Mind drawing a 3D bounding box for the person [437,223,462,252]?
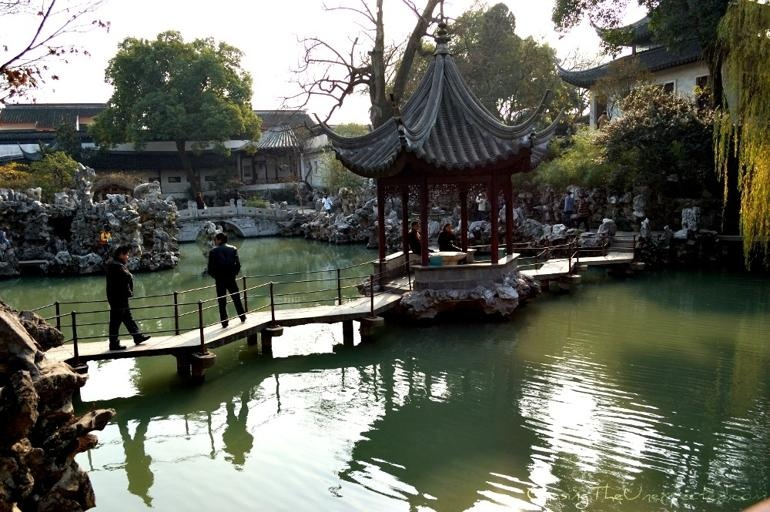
[{"bbox_3d":[1.798,-0.529,18.650,0.613,0.788,0.685,-4,3,5],"label":"person"}]

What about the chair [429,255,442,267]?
[{"bbox_3d":[1.340,0.127,17.295,0.281,0.272,0.273,1,-3,-36],"label":"chair"}]

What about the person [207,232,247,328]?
[{"bbox_3d":[-3.738,0.523,15.688,0.748,1.619,1.940,-5,3,-13],"label":"person"}]

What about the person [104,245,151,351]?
[{"bbox_3d":[-5.673,0.883,14.363,0.731,1.889,1.121,-5,3,-21],"label":"person"}]

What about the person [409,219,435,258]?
[{"bbox_3d":[0.832,-0.472,17.966,0.829,1.214,0.702,-5,6,12],"label":"person"}]
